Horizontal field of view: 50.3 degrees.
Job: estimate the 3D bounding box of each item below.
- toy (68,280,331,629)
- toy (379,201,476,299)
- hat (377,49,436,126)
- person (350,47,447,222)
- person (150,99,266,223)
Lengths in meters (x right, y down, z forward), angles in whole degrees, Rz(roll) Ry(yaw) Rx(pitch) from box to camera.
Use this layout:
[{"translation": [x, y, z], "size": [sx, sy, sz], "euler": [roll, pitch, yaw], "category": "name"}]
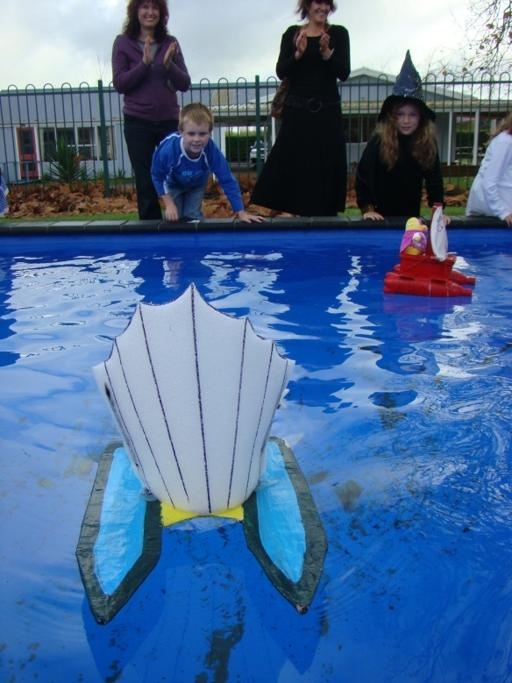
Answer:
[{"translation": [-0.114, 0.180, 1.141], "size": [0.546, 0.429, 0.549], "euler": [1, 21, -3], "category": "toy"}, {"translation": [1.114, -0.591, 3.532], "size": [0.604, 0.564, 0.372], "euler": [9, 24, 29], "category": "toy"}, {"translation": [1.307, -2.262, 4.766], "size": [0.534, 0.556, 0.509], "euler": [-12, 21, -33], "category": "hat"}, {"translation": [1.373, -1.803, 5.024], "size": [0.845, 1.522, 0.660], "euler": [6, 35, 21], "category": "person"}, {"translation": [-0.589, -1.654, 5.236], "size": [0.841, 1.011, 1.244], "euler": [0, 14, 6], "category": "person"}]
